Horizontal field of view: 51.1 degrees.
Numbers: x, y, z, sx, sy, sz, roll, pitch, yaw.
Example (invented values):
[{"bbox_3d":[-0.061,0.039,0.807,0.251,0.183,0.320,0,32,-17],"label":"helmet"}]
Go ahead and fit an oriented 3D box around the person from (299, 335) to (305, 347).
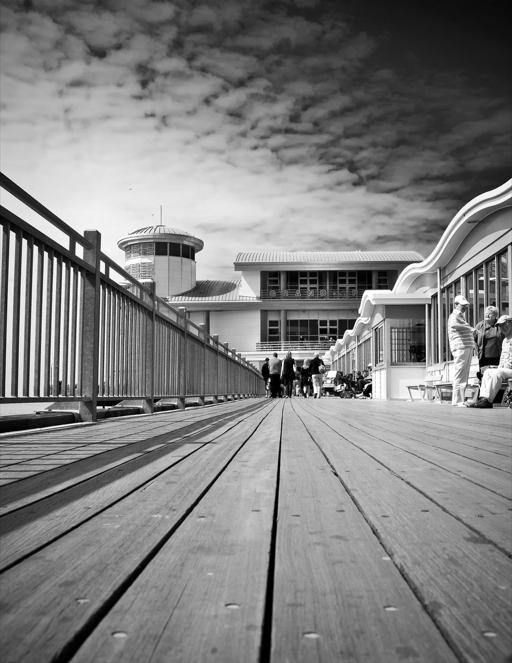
[{"bbox_3d":[4.681,0.861,54.166,0.532,1.137,0.985,-1,-5,5],"label":"person"}]
